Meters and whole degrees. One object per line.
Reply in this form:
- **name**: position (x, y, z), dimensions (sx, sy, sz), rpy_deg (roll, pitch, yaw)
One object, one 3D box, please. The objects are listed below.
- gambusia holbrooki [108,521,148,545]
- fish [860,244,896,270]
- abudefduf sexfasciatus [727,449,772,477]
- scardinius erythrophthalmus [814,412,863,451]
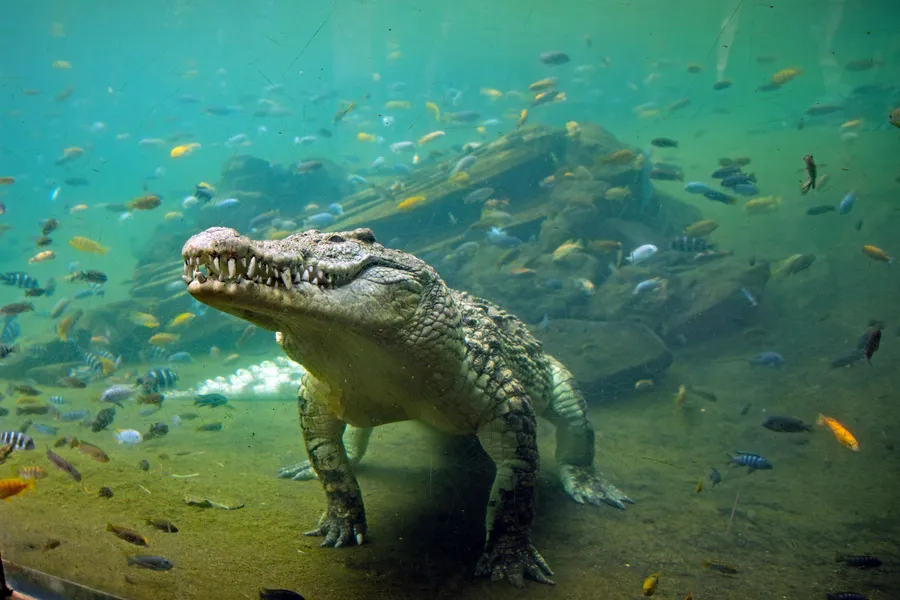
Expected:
- **gambusia holbrooki**: position (-4.313, 3.121, 11.103), dimensions (0.570, 0.195, 0.127), rpy_deg (21, 0, 1)
- **fish**: position (6.463, -0.657, 12.493), dimensions (0.517, 0.230, 0.158), rpy_deg (23, 38, -5)
- **abudefduf sexfasciatus**: position (4.128, 2.238, 11.430), dimensions (0.537, 0.283, 0.169), rpy_deg (1, 19, 24)
- **scardinius erythrophthalmus**: position (5.397, 1.816, 11.481), dimensions (0.193, 0.334, 0.788), rpy_deg (25, 5, -40)
